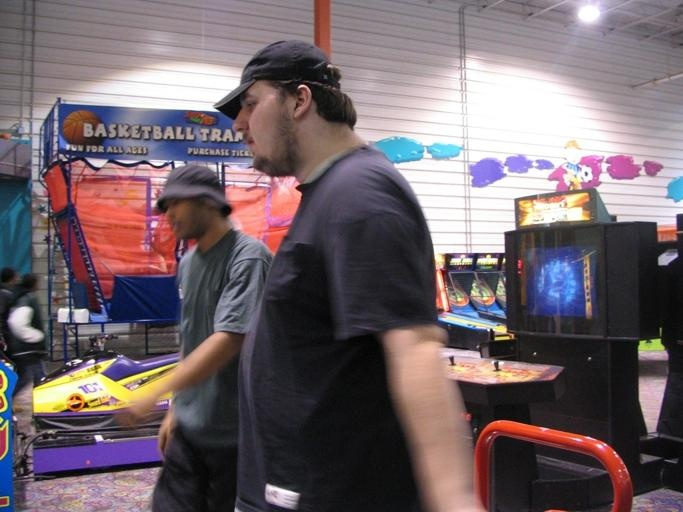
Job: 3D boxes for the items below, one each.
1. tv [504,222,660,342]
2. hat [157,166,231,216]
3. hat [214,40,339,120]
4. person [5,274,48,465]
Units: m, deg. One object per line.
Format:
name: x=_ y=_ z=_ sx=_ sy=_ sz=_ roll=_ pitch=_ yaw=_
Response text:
tv: x=2.082 y=0.215 z=5.387 sx=0.387 sy=1.011 sz=1.322 roll=-5 pitch=3 yaw=-33
hat: x=-0.758 y=-0.339 z=3.224 sx=0.279 sy=0.180 sz=0.331 roll=-7 pitch=-4 yaw=42
hat: x=-0.210 y=-0.614 z=2.137 sx=0.368 sy=0.166 sz=0.239 roll=2 pitch=3 yaw=0
person: x=-3.295 y=0.799 z=6.346 sx=0.360 sy=1.537 sz=0.521 roll=-5 pitch=2 yaw=-28
